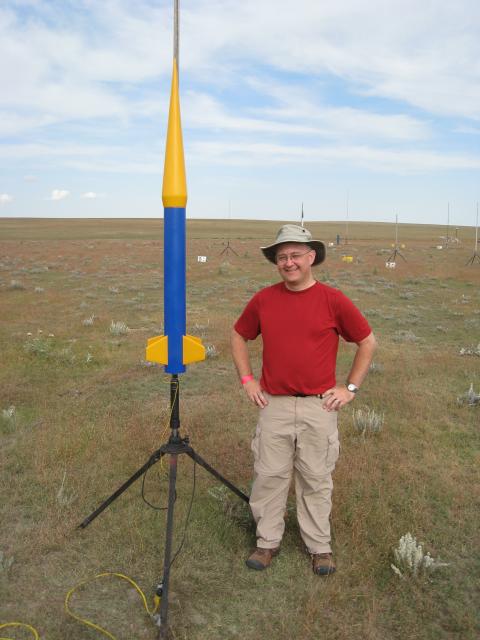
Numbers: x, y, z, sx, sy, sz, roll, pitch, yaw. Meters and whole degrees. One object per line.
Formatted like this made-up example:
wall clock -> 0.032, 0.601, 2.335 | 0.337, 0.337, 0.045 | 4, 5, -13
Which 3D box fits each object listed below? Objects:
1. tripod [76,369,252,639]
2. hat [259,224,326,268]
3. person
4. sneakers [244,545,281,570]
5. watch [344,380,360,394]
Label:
tripod -> -0.593, 1.497, 3.912 | 1.751, 1.649, 1.545 | 0, 8, -10
hat -> 0.426, -0.615, 3.875 | 0.513, 0.327, 0.605 | 1, 8, 7
person -> 0.496, 0.639, 3.907 | 1.097, 2.809, 0.551 | 0, 8, 1
sneakers -> 0.176, 1.959, 3.978 | 0.118, 0.140, 0.284 | -1, -7, 23
watch -> 0.888, 0.522, 3.786 | 0.099, 0.096, 0.066 | 24, -2, 11
